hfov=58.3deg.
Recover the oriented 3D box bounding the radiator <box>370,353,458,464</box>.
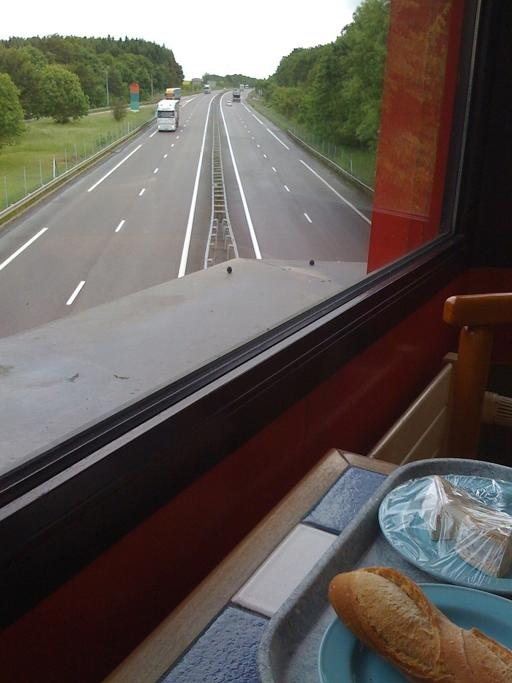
[{"bbox_3d":[0.560,0.233,1.734,0.021,0.376,0.555,4,-7,-15],"label":"radiator"}]
